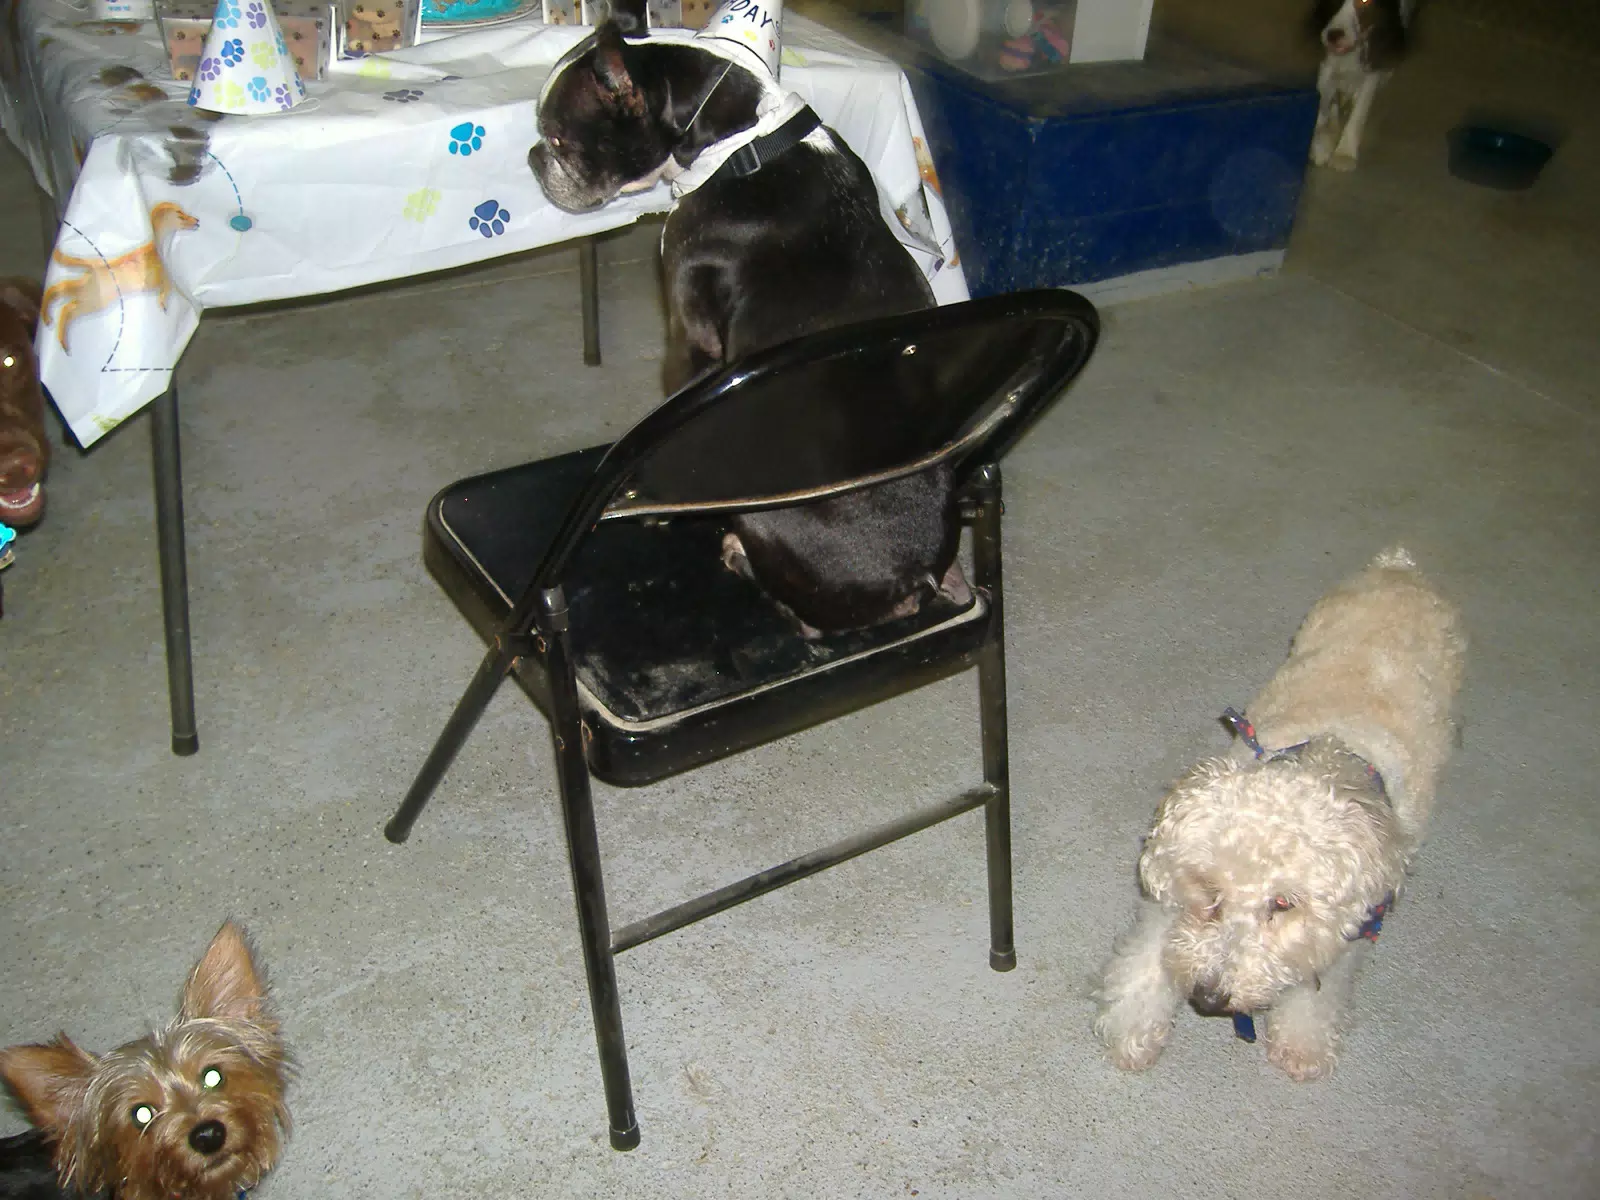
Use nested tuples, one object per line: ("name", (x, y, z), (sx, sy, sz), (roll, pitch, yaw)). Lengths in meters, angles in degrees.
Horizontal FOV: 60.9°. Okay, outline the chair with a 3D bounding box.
("chair", (-0.059, 0.099, 2.353), (1.024, 1.375, 0.743), (-14, 48, -19))
